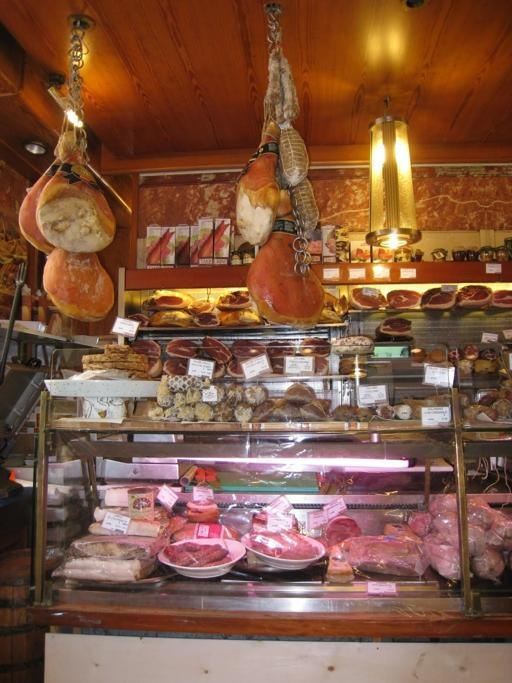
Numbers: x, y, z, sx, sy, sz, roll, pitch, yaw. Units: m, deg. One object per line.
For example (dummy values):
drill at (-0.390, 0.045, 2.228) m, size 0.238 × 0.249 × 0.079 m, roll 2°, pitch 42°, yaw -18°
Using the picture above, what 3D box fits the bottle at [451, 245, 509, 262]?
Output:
bottle at (1.494, -0.574, 3.800) m, size 0.265 × 0.071 × 0.150 m, roll 0°, pitch 2°, yaw 19°

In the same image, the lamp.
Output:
lamp at (0.737, -0.964, 3.137) m, size 0.301 × 0.827 × 0.254 m, roll -2°, pitch -2°, yaw 7°

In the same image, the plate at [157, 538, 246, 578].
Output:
plate at (-0.175, 0.716, 1.882) m, size 0.290 × 0.097 × 0.172 m, roll 0°, pitch -7°, yaw -10°
